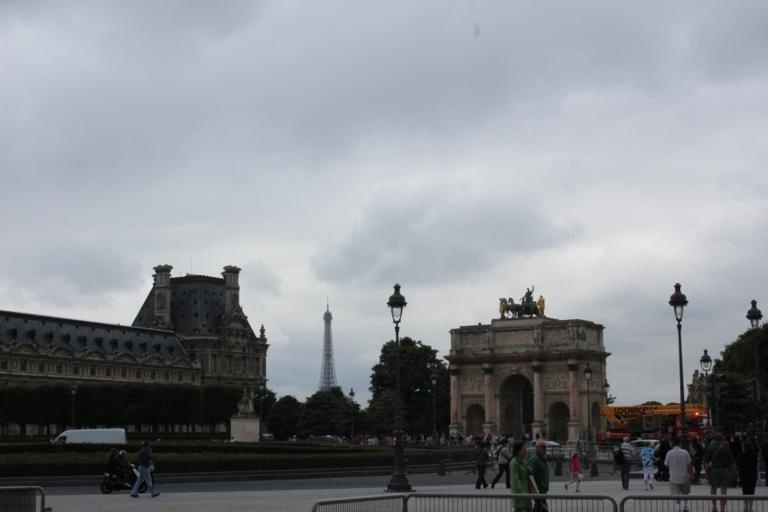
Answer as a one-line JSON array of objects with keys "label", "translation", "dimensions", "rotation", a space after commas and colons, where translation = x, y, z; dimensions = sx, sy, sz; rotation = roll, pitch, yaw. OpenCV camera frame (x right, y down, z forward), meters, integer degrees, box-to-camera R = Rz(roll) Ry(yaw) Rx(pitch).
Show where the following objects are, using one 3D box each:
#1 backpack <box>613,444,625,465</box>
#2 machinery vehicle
[{"label": "backpack", "translation": [14.705, 12.417, 82.412], "dimensions": [0.508, 1.143, 0.841], "rotation": [5, -1, -2]}, {"label": "machinery vehicle", "translation": [25.365, 16.249, 126.009], "dimensions": [9.049, 4.397, 5.082], "rotation": [-6, -14, 34]}]
